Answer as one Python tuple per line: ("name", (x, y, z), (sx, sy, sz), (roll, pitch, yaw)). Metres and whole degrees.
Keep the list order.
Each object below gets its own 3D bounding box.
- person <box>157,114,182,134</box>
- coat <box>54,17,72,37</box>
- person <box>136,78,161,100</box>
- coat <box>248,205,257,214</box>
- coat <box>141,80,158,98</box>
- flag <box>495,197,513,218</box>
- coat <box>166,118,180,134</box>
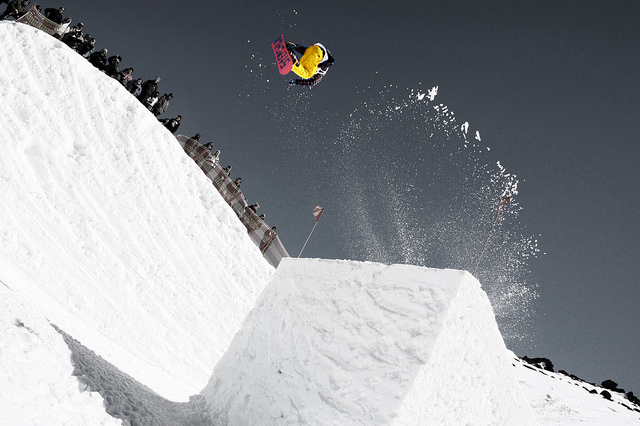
("person", (-12.046, -7.412, 38.468), (0.960, 1.539, 1.528), (15, -17, 39))
("coat", (-17.263, -12.497, 31.844), (0.417, 1.558, 0.797), (12, -18, 43))
("person", (-13.453, -9.686, 36.958), (0.903, 1.910, 0.563), (31, -14, -27))
("coat", (-5.163, -0.375, 36.301), (0.588, 0.503, 0.962), (28, -13, -5))
("coat", (-13.411, -9.858, 37.211), (0.527, 1.412, 1.256), (18, -15, 26))
("flag", (6.497, -0.316, 16.817), (0.234, 0.877, 0.244), (22, -1, 44))
("coat", (-11.986, -7.146, 38.647), (0.634, 1.157, 1.091), (22, -13, 10))
